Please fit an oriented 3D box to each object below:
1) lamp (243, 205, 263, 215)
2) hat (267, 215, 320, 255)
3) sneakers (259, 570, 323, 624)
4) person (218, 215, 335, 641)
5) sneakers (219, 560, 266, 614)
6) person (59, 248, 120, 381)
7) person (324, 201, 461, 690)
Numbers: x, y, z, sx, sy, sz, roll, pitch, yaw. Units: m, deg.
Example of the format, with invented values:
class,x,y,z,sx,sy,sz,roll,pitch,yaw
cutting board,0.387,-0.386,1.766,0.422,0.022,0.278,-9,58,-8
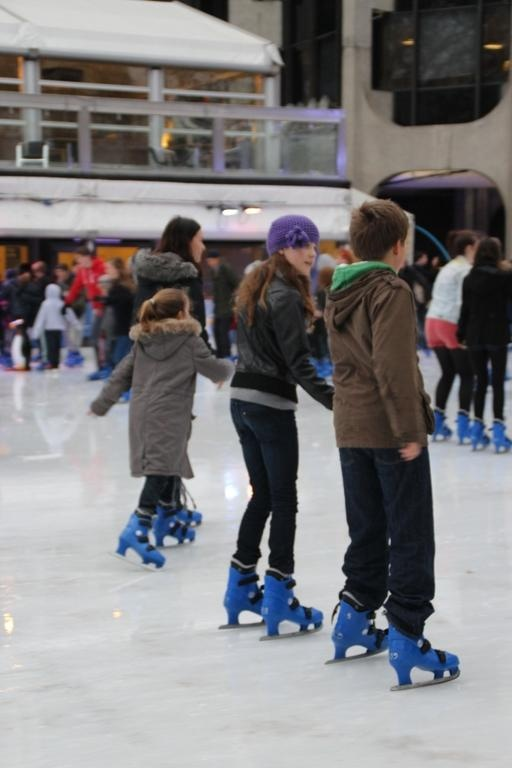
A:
class,x,y,z,sx,sy,sz,roll,pitch,yaw
lamp,-0.110,-3.422,20.699,0.187,0.156,0.395,6,8,44
hat,0.124,-0.553,3.873,0.188,0.149,0.201,2,6,20
sneakers,0.138,0.806,3.895,0.241,0.226,0.091,1,-3,-28
person,0.100,0.170,3.878,0.277,1.586,0.582,-6,9,-43
sneakers,-0.003,0.793,4.052,0.236,0.225,0.081,4,-8,-28
person,-2.256,-1.060,15.360,0.739,2.104,0.688,3,-12,0
person,0.424,0.291,3.395,0.303,1.365,0.449,-4,7,-27
